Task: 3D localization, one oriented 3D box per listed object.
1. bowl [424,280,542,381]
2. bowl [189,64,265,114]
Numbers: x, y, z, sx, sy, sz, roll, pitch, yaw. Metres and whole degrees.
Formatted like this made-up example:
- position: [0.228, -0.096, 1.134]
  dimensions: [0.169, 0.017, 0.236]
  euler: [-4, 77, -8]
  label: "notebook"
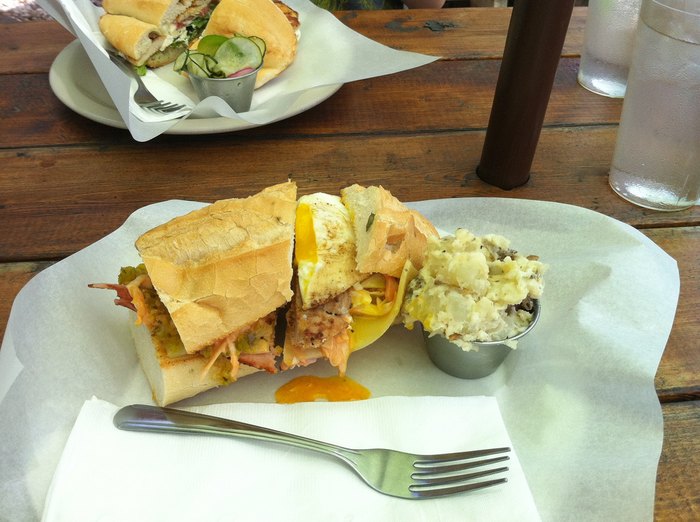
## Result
- position: [0.339, 0.208, 1.420]
  dimensions: [0.257, 0.122, 0.240]
  euler: [-5, 35, 3]
  label: "bowl"
- position: [-0.491, -0.647, 2.181]
  dimensions: [0.242, 0.147, 0.240]
  euler: [2, 44, -2]
  label: "bowl"
